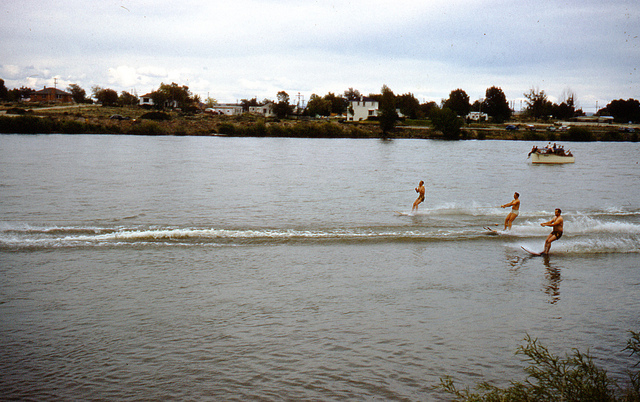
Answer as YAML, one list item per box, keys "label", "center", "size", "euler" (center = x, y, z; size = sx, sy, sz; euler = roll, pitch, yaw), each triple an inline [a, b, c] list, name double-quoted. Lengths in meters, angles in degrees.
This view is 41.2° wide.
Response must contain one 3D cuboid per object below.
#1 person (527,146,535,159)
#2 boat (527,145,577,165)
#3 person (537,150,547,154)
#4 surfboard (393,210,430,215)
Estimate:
- label: "person"
  center: [27.897, -6.788, 112.884]
  size: [0.748, 1.297, 1.024]
  euler: [12, -6, 22]
- label: "boat"
  center: [31.132, -5.731, 112.700]
  size: [6.091, 1.933, 3.074]
  euler: [-1, 10, -8]
- label: "person"
  center: [29.667, -6.560, 114.150]
  size: [1.406, 0.305, 1.384]
  euler: [2, 2, -4]
- label: "surfboard"
  center: [8.566, 1.148, 77.295]
  size: [2.804, 0.166, 0.838]
  euler: [0, 10, -1]
